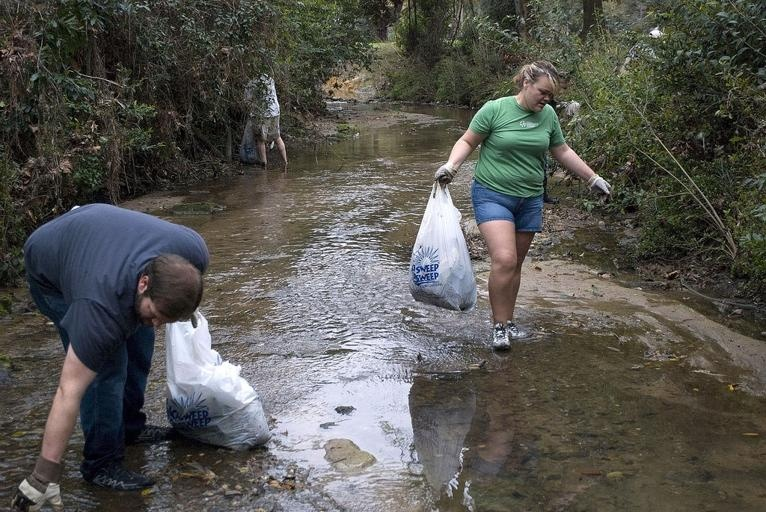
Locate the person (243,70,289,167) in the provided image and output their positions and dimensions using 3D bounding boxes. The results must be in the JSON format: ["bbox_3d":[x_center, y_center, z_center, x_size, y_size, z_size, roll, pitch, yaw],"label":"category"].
[{"bbox_3d":[-2.396,-2.725,13.823,0.817,1.973,1.096,-4,22,-8],"label":"person"}]

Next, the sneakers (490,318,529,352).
[{"bbox_3d":[1.112,0.715,6.125,0.237,0.106,0.290,-9,15,-28],"label":"sneakers"}]

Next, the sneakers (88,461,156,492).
[{"bbox_3d":[-1.757,1.470,4.620,0.486,0.208,0.172,3,0,-1],"label":"sneakers"}]

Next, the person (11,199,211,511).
[{"bbox_3d":[-1.832,0.767,4.600,0.966,1.179,1.576,22,34,11],"label":"person"}]

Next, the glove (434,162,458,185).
[{"bbox_3d":[0.557,-0.734,6.080,0.158,0.098,0.206,26,0,-19],"label":"glove"}]

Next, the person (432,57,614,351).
[{"bbox_3d":[1.130,-0.529,6.243,1.147,2.401,0.881,-20,29,-40],"label":"person"}]
